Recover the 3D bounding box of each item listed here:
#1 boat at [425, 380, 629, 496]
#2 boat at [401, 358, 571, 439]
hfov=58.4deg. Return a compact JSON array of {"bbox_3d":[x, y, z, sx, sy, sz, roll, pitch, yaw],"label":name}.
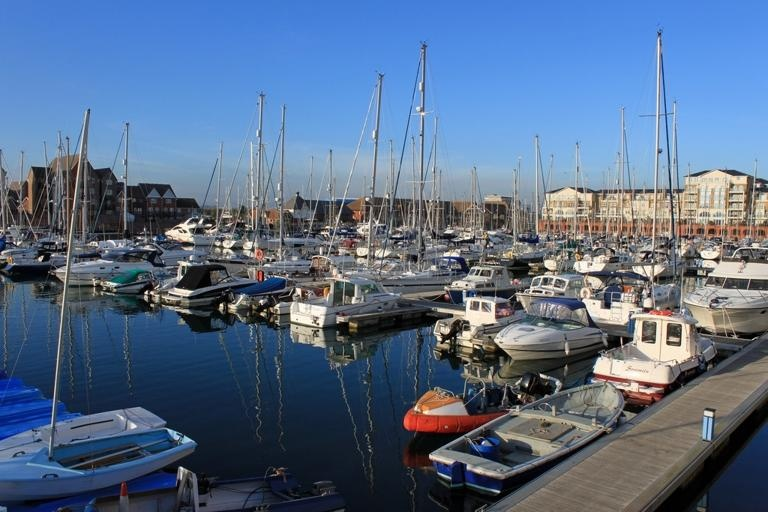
[{"bbox_3d":[4.432,5.045,19.403,2.914,1.338,7.756,3,7,44],"label":"boat"},{"bbox_3d":[2.987,4.401,21.027,4.608,1.410,2.008,-4,4,-27],"label":"boat"}]
